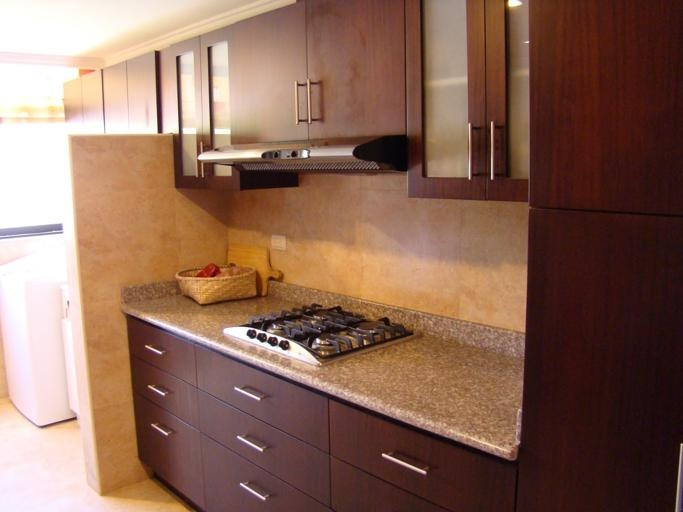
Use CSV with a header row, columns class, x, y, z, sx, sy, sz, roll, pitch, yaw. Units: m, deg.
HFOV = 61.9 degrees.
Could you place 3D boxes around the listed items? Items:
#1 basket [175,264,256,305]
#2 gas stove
class,x,y,z,sx,sy,sz,roll,pitch,yaw
basket,-0.753,0.119,3.324,0.478,0.202,0.476,-6,9,-42
gas stove,-0.111,0.340,2.620,0.763,0.084,0.722,5,8,31
